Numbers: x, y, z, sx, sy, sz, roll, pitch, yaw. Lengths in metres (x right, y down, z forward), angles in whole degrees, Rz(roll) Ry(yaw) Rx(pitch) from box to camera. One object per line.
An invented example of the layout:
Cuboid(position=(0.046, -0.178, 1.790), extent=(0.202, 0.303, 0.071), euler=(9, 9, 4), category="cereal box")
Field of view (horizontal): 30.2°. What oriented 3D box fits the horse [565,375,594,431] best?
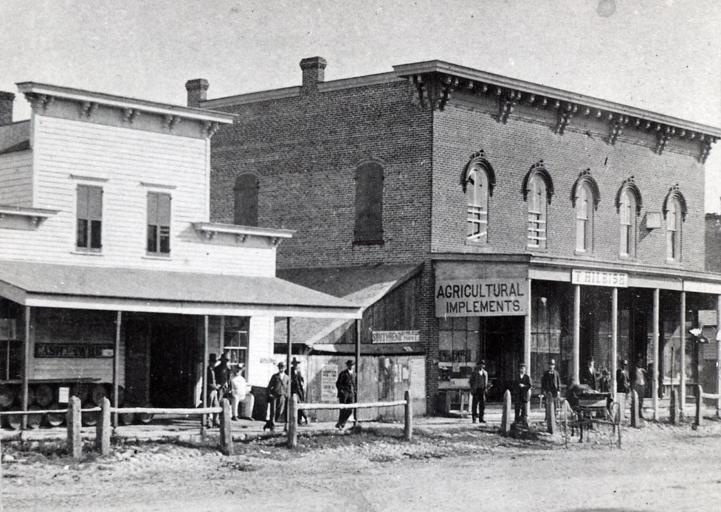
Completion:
Cuboid(position=(7.357, 4.800, 44.039), extent=(0.803, 1.217, 1.259), euler=(-1, -4, 15), category="horse")
